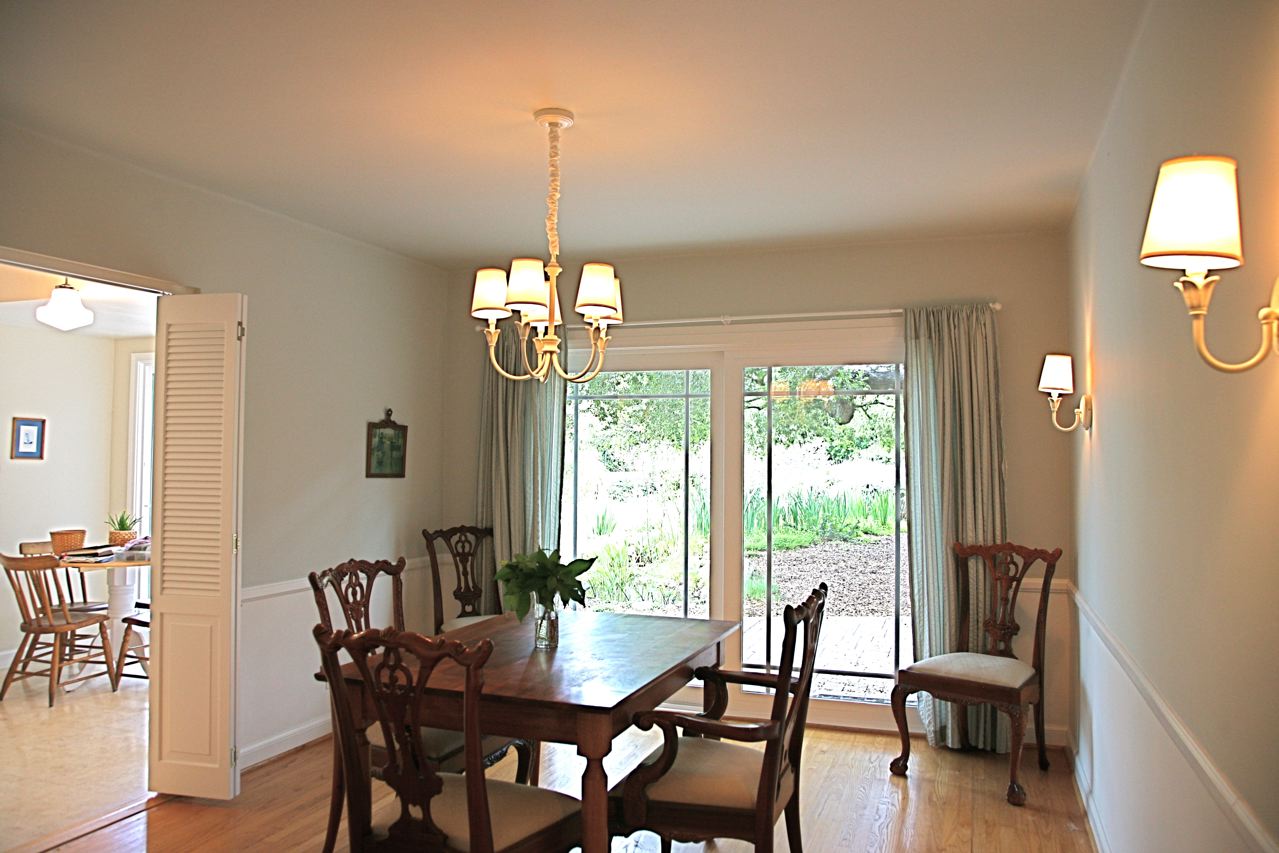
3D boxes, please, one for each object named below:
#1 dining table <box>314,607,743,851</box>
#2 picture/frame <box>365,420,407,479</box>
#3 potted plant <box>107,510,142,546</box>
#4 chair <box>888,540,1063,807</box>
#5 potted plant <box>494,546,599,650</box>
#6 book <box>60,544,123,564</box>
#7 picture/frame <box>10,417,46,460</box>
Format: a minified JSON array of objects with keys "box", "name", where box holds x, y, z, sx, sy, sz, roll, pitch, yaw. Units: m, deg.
[{"box":[-0.264,1.506,3.741,1.071,0.699,1.445,-3,-6,19],"name":"dining table"},{"box":[-1.854,0.160,6.208,0.032,0.428,0.411,-1,-3,25],"name":"picture/frame"},{"box":[-4.702,0.925,7.778,0.267,0.352,0.279,-2,-5,13],"name":"potted plant"},{"box":[2.109,1.418,5.306,0.876,1.640,1.038,-2,-1,35],"name":"chair"},{"box":[-0.468,0.772,4.126,0.455,0.461,0.495,2,-2,-32],"name":"potted plant"},{"box":[-4.470,1.054,6.967,0.249,0.077,0.252,0,-1,6],"name":"book"},{"box":[-5.360,0.097,7.471,0.033,0.441,0.361,-1,-2,24],"name":"picture/frame"}]
